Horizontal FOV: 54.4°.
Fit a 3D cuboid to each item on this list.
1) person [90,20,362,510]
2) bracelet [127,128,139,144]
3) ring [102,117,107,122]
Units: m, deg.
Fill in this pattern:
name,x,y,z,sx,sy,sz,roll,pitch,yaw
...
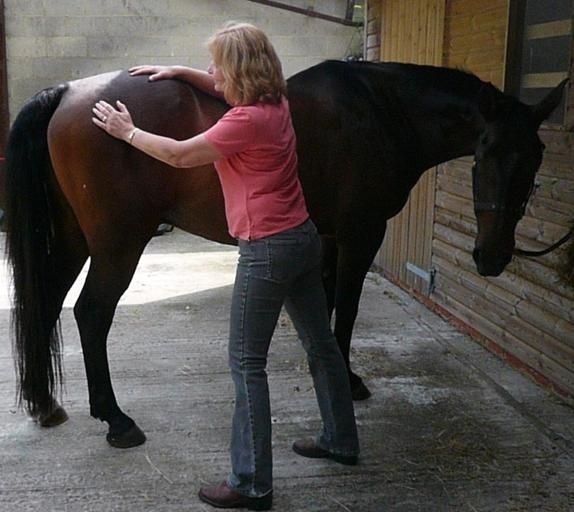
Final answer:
name,x,y,z,sx,sy,sz,roll,pitch,yaw
person,-0.173,0.031,2.259,0.814,1.813,0.632,12,18,39
bracelet,-0.604,-0.459,2.170,0.015,0.055,0.059,29,38,6
ring,-0.751,-0.563,2.297,0.008,0.024,0.026,0,3,-39
